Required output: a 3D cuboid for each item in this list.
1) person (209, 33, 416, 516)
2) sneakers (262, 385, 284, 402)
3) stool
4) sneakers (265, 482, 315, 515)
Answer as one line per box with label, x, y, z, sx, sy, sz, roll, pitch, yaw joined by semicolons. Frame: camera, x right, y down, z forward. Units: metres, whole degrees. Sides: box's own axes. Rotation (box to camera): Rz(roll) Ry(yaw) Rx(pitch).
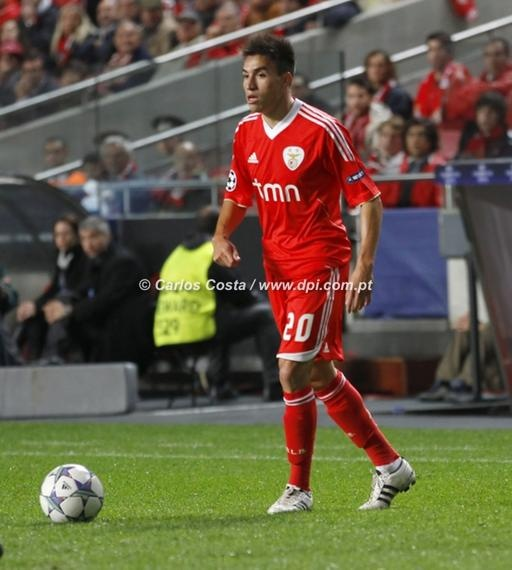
person;0.206;-0.058;5.683;0.777;1.691;0.366;-4;-1;5
sneakers;0.101;0.690;8.693;0.109;0.106;0.128;0;-3;-10
stool;-0.441;0.549;8.300;0.175;0.398;0.658;-9;-27;14
sneakers;0.148;0.885;5.599;0.229;0.095;0.081;8;-13;-41
